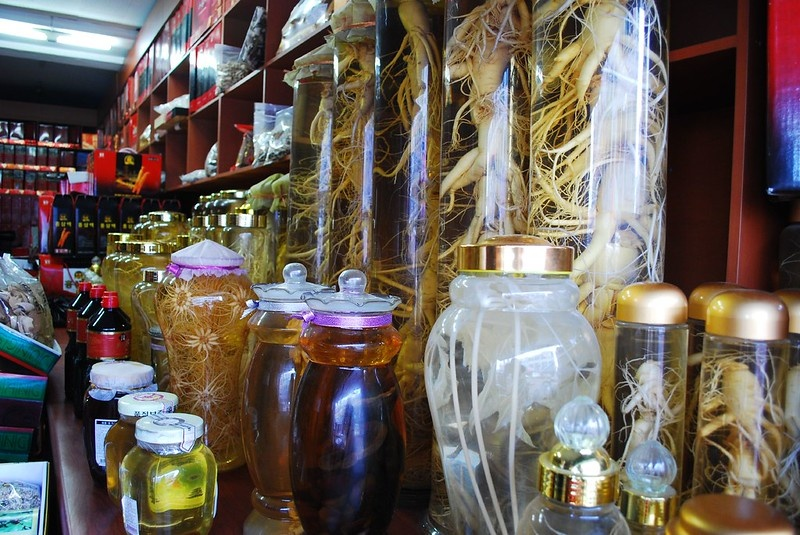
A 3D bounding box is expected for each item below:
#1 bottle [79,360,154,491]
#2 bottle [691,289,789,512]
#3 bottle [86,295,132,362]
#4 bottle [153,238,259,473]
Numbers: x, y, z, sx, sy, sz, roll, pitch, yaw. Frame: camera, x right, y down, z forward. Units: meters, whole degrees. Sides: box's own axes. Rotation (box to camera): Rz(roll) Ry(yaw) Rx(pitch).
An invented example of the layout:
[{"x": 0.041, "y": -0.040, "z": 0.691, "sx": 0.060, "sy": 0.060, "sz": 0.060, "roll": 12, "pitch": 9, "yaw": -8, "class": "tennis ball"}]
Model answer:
[{"x": -0.492, "y": 0.299, "z": 1.124, "sx": 0.123, "sy": 0.201, "sz": 0.131, "roll": -2, "pitch": -20, "yaw": -1, "class": "bottle"}, {"x": 0.413, "y": 0.155, "z": 0.750, "sx": 0.103, "sy": 0.258, "sz": 0.104, "roll": 3, "pitch": -5, "yaw": 0, "class": "bottle"}, {"x": -0.599, "y": 0.125, "z": 1.284, "sx": 0.087, "sy": 0.151, "sz": 0.091, "roll": 3, "pitch": 5, "yaw": 0, "class": "bottle"}, {"x": -0.363, "y": 0.157, "z": 1.177, "sx": 0.192, "sy": 0.436, "sz": 0.192, "roll": -1, "pitch": 12, "yaw": 0, "class": "bottle"}]
